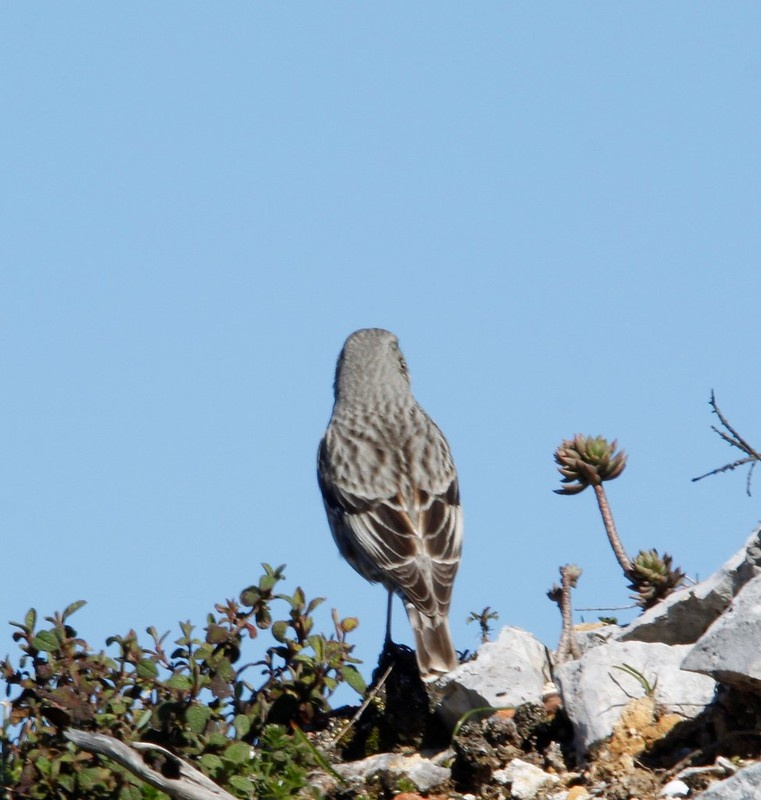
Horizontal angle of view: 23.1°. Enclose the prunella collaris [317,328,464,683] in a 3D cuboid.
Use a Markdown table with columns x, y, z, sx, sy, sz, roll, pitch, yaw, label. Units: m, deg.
| x | y | z | sx | sy | sz | roll | pitch | yaw | label |
| --- | --- | --- | --- | --- | --- | --- | --- | --- | --- |
| -0.151 | 0.541 | 10.541 | 0.570 | 2.052 | 1.380 | -6 | -56 | -4 | prunella collaris |
